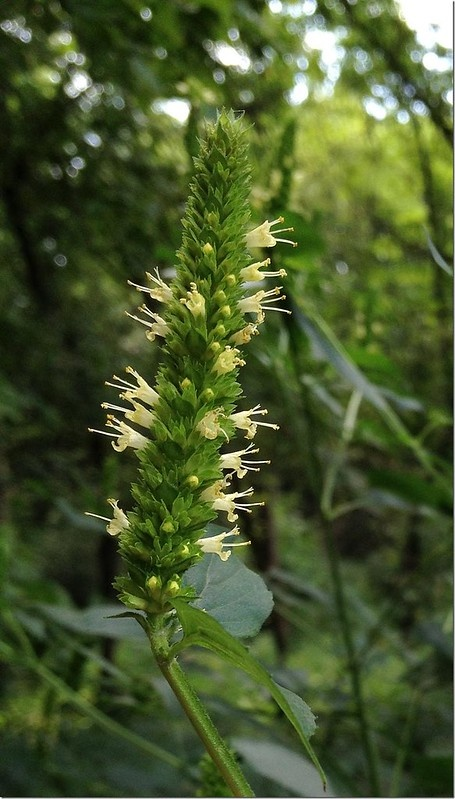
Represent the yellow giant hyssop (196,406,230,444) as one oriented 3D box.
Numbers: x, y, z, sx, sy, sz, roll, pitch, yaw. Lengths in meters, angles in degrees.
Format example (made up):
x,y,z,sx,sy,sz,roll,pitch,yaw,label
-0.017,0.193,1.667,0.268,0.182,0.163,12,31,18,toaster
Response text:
x,y,z,sx,sy,sz,roll,pitch,yaw,label
-0.007,0.019,0.495,0.015,0.023,0.027,-11,-38,40,yellow giant hyssop
